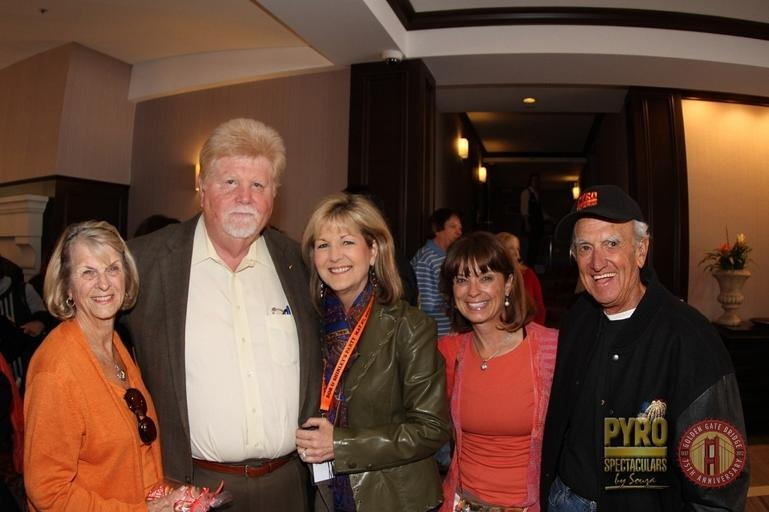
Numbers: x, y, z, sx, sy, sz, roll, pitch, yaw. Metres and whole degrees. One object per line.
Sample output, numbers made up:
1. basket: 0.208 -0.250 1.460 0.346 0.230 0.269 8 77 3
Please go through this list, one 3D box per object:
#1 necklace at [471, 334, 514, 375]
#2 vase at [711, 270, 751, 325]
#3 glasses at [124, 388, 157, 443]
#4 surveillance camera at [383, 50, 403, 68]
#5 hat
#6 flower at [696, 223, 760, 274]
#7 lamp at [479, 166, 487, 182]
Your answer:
1. necklace: 0.587 0.553 3.204 0.191 0.197 0.064 8 0 25
2. vase: 3.931 0.475 6.465 0.415 0.577 0.385 -2 -8 23
3. glasses: -1.203 0.773 2.804 0.061 0.261 0.155 -20 -1 29
4. surveillance camera: 0.082 -1.945 5.574 0.209 0.085 0.196 -1 -2 -1
5. hat: 1.126 -0.252 2.987 0.393 0.217 0.297 10 -16 -31
6. flower: 3.946 -0.047 6.604 0.578 0.413 0.561 -5 2 -41
7. lamp: 2.223 -1.884 12.921 0.126 0.361 0.482 -1 -2 17
